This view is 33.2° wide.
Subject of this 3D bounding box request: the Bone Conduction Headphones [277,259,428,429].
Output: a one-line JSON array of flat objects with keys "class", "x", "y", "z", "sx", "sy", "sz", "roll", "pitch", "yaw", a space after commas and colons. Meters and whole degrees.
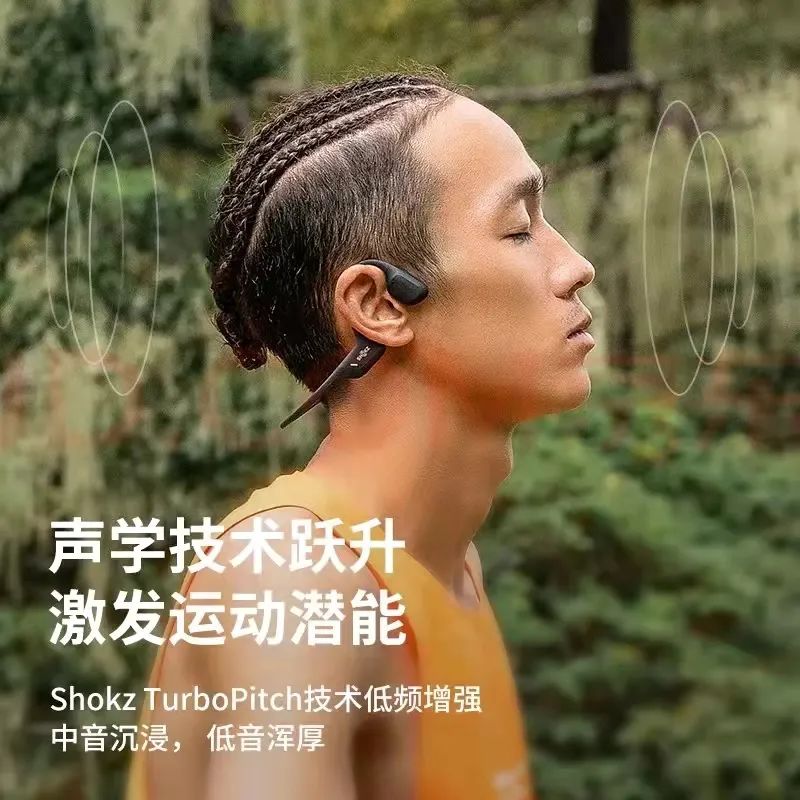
[{"class": "Bone Conduction Headphones", "x": -0.065, "y": -0.046, "z": 1.777, "sx": 0.063, "sy": 0.139, "sz": 0.256, "roll": 40, "pitch": 96, "yaw": -10}]
